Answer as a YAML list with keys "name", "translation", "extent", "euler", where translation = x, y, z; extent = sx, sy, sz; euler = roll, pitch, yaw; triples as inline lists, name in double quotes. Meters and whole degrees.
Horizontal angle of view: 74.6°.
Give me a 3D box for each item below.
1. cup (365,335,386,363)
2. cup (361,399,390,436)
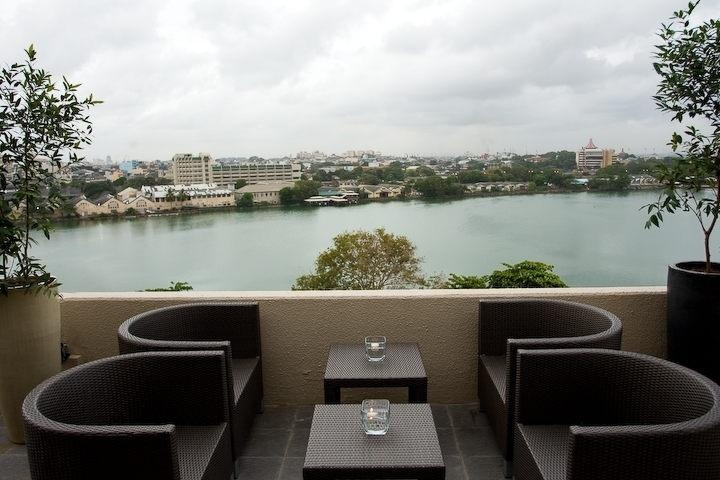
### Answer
- name: "cup"
  translation: [0.099, 0.686, 2.987]
  extent: [0.174, 0.125, 0.139]
  euler: [1, -6, -2]
- name: "cup"
  translation: [0.086, 0.891, 2.432]
  extent: [0.165, 0.148, 0.160]
  euler: [-2, 8, 0]
